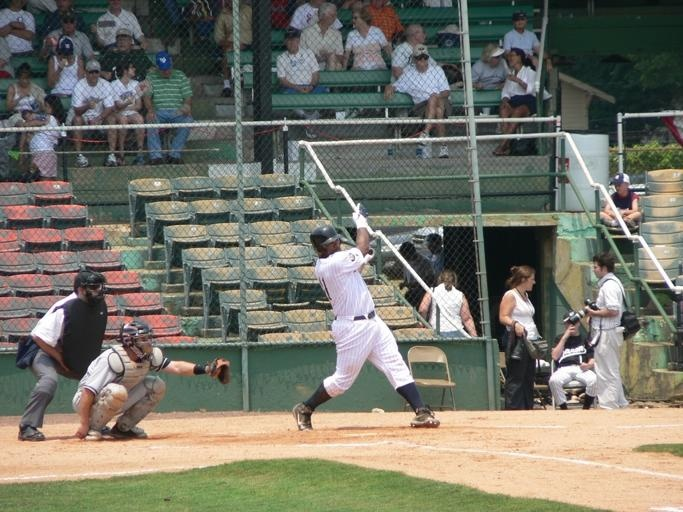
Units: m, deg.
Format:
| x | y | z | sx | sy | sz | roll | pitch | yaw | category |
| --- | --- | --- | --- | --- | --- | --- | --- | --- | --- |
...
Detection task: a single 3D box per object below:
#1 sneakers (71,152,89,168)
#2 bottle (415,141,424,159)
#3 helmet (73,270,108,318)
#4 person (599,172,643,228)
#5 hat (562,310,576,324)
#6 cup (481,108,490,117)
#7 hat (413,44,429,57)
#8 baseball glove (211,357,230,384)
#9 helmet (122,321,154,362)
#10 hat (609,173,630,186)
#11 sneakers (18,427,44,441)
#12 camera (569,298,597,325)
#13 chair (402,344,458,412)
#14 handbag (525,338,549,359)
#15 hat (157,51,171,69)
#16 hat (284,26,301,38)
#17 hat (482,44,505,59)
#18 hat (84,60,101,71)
| x | y | z | sx | sy | sz | roll | pitch | yaw | category |
| --- | --- | --- | --- | --- | --- | --- | --- | --- | --- |
| -4.341 | -1.628 | 27.992 | 0.184 | 0.121 | 0.269 | -10 | 37 | -26 | sneakers |
| 1.305 | -1.810 | 28.763 | 0.173 | 0.358 | 0.183 | 0 | 2 | 0 | bottle |
| -3.391 | 0.441 | 22.660 | 0.472 | 0.552 | 0.410 | -2 | -1 | 19 | helmet |
| 4.477 | -0.888 | 27.150 | 0.632 | 0.973 | 0.906 | 1 | 6 | 9 | person |
| 3.400 | 0.910 | 25.087 | 0.225 | 0.165 | 0.234 | -49 | 3 | -5 | hat |
| 2.516 | -2.538 | 29.769 | 0.119 | 0.176 | 0.138 | 0 | 2 | -23 | cup |
| 1.297 | -3.479 | 28.493 | 0.275 | 0.226 | 0.229 | -4 | 2 | 6 | hat |
| -1.626 | 1.497 | 22.462 | 0.218 | 0.320 | 0.316 | 4 | 5 | -6 | baseball glove |
| -2.712 | 1.113 | 22.311 | 0.443 | 0.494 | 0.393 | 2 | 3 | 19 | helmet |
| 4.459 | -1.248 | 27.214 | 0.255 | 0.144 | 0.177 | -8 | -1 | 37 | hat |
| -4.185 | 2.365 | 22.637 | 0.305 | 0.156 | 0.159 | -2 | -5 | 18 | sneakers |
| 3.538 | 0.847 | 25.041 | 0.356 | 0.168 | 0.354 | -33 | -25 | -9 | camera |
| 1.307 | 1.738 | 24.931 | 0.687 | 1.273 | 0.879 | 0 | -6 | -12 | chair |
| 2.824 | 1.332 | 24.577 | 0.305 | 0.308 | 0.237 | -5 | -1 | -8 | handbag |
| -2.997 | -3.290 | 28.368 | 0.291 | 0.251 | 0.503 | -8 | 16 | 2 | hat |
| -0.855 | -3.768 | 28.524 | 0.194 | 0.182 | 0.220 | -5 | 6 | 20 | hat |
| 2.633 | -3.557 | 29.601 | 0.296 | 0.155 | 0.228 | -7 | 30 | 37 | hat |
| -4.184 | -3.193 | 28.197 | 0.245 | 0.156 | 0.297 | -5 | 2 | -9 | hat |
